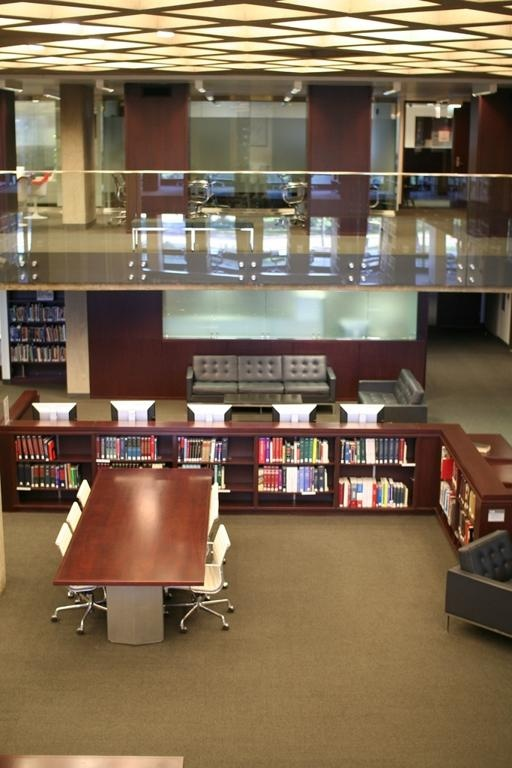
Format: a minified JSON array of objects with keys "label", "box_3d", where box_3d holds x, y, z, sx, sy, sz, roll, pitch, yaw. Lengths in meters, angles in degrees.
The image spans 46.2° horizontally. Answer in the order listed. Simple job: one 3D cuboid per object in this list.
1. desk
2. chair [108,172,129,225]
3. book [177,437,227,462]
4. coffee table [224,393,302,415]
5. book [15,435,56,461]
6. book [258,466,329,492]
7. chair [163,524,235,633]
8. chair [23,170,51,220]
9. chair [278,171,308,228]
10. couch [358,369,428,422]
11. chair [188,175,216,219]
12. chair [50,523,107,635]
[{"label":"desk","box_3d":[-0.983,1.530,5.169,1.176,0.963,2.149,0,5,-5]},{"label":"chair","box_3d":[-2.321,-3.133,10.099,0.270,0.916,0.499,-1,5,-12]},{"label":"book","box_3d":[-0.665,0.816,7.403,0.527,0.313,0.270,2,5,3]},{"label":"coffee table","box_3d":[0.125,0.378,11.205,1.374,0.415,0.973,1,5,11]},{"label":"book","box_3d":[-2.747,0.698,7.485,0.413,0.443,0.318,-1,4,3]},{"label":"book","box_3d":[0.455,1.169,7.434,0.853,0.332,0.129,0,5,0]},{"label":"chair","box_3d":[-0.442,1.614,5.327,0.714,0.985,0.717,0,15,-7]},{"label":"chair","box_3d":[-3.652,-3.114,9.897,0.541,0.768,0.620,5,16,-2]},{"label":"chair","box_3d":[0.691,-3.228,10.543,0.485,1.004,0.675,0,5,3]},{"label":"couch","box_3d":[2.313,0.161,10.236,0.909,0.731,1.800,1,5,3]},{"label":"chair","box_3d":[-0.958,-3.280,10.483,0.450,0.878,0.790,0,5,-5]},{"label":"chair","box_3d":[-1.467,1.667,5.203,0.395,0.644,0.469,-6,6,-1]}]
